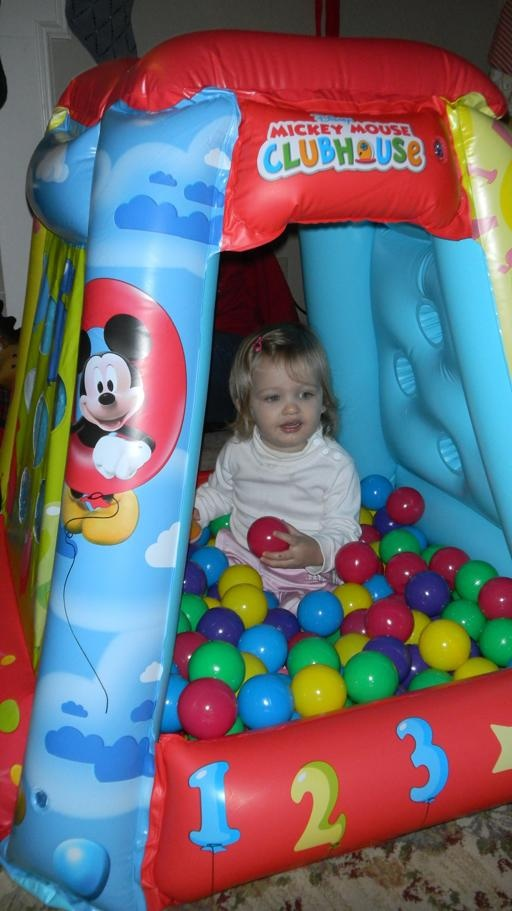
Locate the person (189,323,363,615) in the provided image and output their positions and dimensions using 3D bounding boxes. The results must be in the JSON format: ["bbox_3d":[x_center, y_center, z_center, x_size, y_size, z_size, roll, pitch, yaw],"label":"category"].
[{"bbox_3d":[0.076,0.061,1.831,0.520,0.898,0.533,7,33,13],"label":"person"}]
